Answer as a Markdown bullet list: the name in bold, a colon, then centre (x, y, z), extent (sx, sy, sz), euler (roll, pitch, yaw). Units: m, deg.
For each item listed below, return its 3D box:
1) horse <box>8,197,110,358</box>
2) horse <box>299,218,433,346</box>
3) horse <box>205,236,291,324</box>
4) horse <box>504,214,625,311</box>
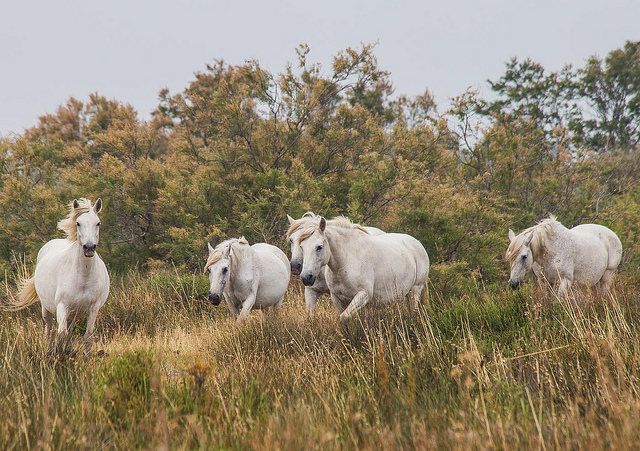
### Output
- **horse**: centre (-5.267, 1.218, 16.204), extent (1.045, 3.203, 2.438), euler (4, -13, -40)
- **horse**: centre (1.167, 1.309, 17.271), extent (1.300, 2.997, 4.346), euler (-2, -1, 45)
- **horse**: centre (-1.609, 1.379, 17.796), extent (1.222, 2.227, 3.469), euler (3, -2, 22)
- **horse**: centre (5.612, 0.948, 17.785), extent (3.264, 2.278, 1.192), euler (0, 6, -28)
